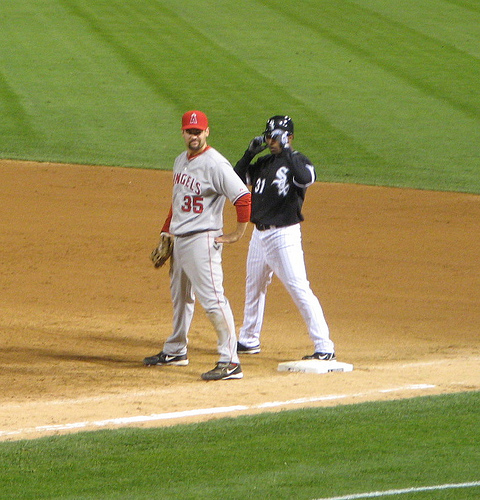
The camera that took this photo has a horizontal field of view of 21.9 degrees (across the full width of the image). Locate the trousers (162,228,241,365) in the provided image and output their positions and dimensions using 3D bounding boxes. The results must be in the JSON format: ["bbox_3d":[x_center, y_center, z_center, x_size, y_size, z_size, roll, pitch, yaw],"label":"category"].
[{"bbox_3d":[-0.366,0.431,11.645,0.382,1.328,0.798,-13,18,-43],"label":"trousers"}]

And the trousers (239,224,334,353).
[{"bbox_3d":[0.423,0.403,12.188,0.369,1.366,1.184,-9,16,-34],"label":"trousers"}]

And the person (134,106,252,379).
[{"bbox_3d":[-0.358,-0.030,11.570,0.893,2.491,0.467,11,17,39],"label":"person"}]

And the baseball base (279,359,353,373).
[{"bbox_3d":[0.723,1.121,11.806,0.695,0.132,0.251,1,13,4],"label":"baseball base"}]

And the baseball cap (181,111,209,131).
[{"bbox_3d":[-0.415,-1.186,11.410,0.227,0.170,0.251,-1,13,-4],"label":"baseball cap"}]

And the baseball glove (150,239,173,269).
[{"bbox_3d":[-0.743,0.035,11.685,0.111,0.265,0.202,27,1,-9],"label":"baseball glove"}]
